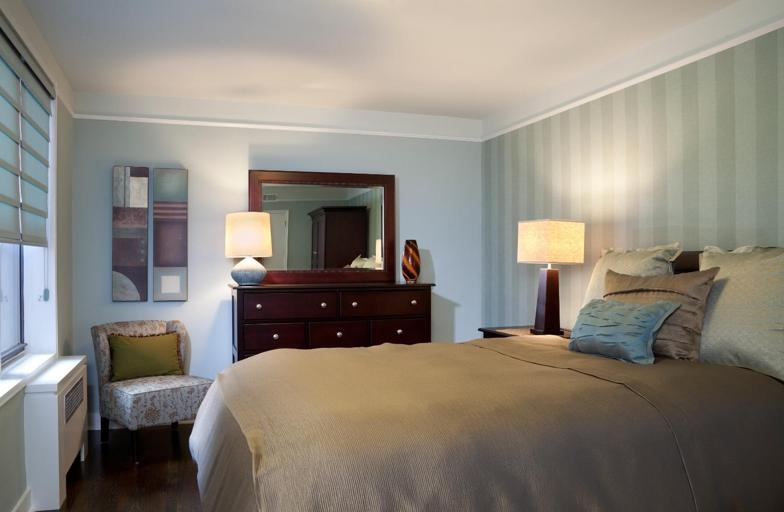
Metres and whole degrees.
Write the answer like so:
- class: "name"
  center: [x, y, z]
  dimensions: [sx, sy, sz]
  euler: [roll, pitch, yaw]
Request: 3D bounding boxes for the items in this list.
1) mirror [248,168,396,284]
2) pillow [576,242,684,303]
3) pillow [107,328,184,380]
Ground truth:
- class: "mirror"
  center: [-0.772, -0.298, 5.675]
  dimensions: [1.236, 0.996, 0.080]
  euler: [1, -5, -19]
- class: "pillow"
  center: [1.742, 0.111, 4.051]
  dimensions: [0.180, 0.423, 0.477]
  euler: [14, -10, -21]
- class: "pillow"
  center: [-2.175, 0.873, 4.899]
  dimensions: [0.431, 0.315, 0.148]
  euler: [0, -34, -25]
